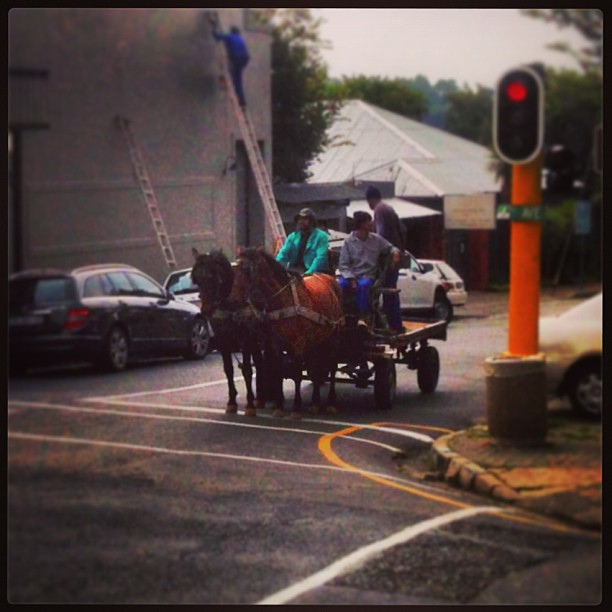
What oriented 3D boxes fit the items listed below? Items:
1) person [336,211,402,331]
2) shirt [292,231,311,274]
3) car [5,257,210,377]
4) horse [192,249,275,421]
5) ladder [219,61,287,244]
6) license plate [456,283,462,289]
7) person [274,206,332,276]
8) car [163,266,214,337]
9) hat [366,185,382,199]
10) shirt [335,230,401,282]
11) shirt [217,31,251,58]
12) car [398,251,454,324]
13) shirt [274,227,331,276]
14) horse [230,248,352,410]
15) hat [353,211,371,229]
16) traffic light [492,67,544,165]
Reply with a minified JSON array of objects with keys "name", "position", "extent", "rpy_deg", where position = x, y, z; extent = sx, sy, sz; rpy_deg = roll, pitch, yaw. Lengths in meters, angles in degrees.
[{"name":"person","position":[0.783,-0.432,11.146],"extent":[0.771,1.846,0.862],"rpy_deg":[1,-2,29]},{"name":"shirt","position":[-0.071,-0.716,11.578],"extent":[0.115,0.486,0.294],"rpy_deg":[5,3,-3]},{"name":"car","position":[-3.060,0.169,12.587],"extent":[0.856,1.810,4.257],"rpy_deg":[-1,1,23]},{"name":"horse","position":[-0.913,0.400,11.048],"extent":[0.554,2.238,2.523],"rpy_deg":[-1,2,-5]},{"name":"ladder","position":[-1.045,-3.009,18.167],"extent":[0.679,4.411,0.784],"rpy_deg":[-5,13,-34]},{"name":"license plate","position":[2.958,-0.369,16.270],"extent":[0.090,0.106,0.247],"rpy_deg":[-1,1,35]},{"name":"person","position":[-0.055,-0.884,11.633],"extent":[0.617,1.124,0.859],"rpy_deg":[-1,-3,37]},{"name":"car","position":[-2.253,-0.054,16.019],"extent":[0.810,1.113,1.743],"rpy_deg":[0,4,5]},{"name":"hat","position":[0.981,-1.642,12.228],"extent":[0.196,0.186,0.226],"rpy_deg":[-2,1,-7]},{"name":"shirt","position":[0.818,-0.664,11.194],"extent":[0.767,0.695,0.381],"rpy_deg":[-2,1,5]},{"name":"shirt","position":[-1.099,-3.951,12.747],"extent":[0.374,0.509,0.795],"rpy_deg":[-2,1,-17]},{"name":"car","position":[2.640,-0.319,16.472],"extent":[1.588,1.193,0.909],"rpy_deg":[-4,4,-26]},{"name":"shirt","position":[-0.007,-0.732,11.529],"extent":[0.513,0.855,0.611],"rpy_deg":[1,6,18]},{"name":"horse","position":[-0.081,0.315,10.594],"extent":[0.675,1.962,2.356],"rpy_deg":[1,0,34]},{"name":"hat","position":[0.741,-1.140,11.218],"extent":[0.139,0.193,0.196],"rpy_deg":[-4,-6,-43]},{"name":"traffic light","position":[1.920,-1.722,7.643],"extent":[0.452,0.844,0.175],"rpy_deg":[-1,1,16]}]
